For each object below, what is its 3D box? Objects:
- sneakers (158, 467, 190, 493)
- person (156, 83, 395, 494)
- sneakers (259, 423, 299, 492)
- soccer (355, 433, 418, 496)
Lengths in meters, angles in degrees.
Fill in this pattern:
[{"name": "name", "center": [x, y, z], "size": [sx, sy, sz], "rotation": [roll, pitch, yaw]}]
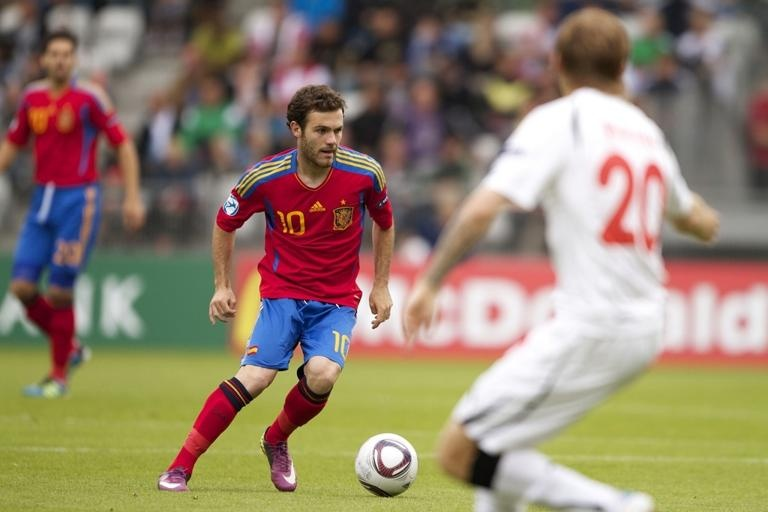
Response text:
[{"name": "sneakers", "center": [-1.504, 1.599, 7.805], "size": [0.235, 0.097, 0.119], "rotation": [-3, 44, 3]}, {"name": "person", "center": [-0.690, 0.428, 8.090], "size": [1.516, 2.531, 0.730], "rotation": [1, 4, -3]}, {"name": "sneakers", "center": [-0.749, 1.522, 8.112], "size": [0.160, 0.183, 0.430], "rotation": [-11, 61, -28]}, {"name": "soccer", "center": [0.038, 1.509, 7.983], "size": [0.420, 0.402, 0.407], "rotation": [-17, 63, -18]}]
